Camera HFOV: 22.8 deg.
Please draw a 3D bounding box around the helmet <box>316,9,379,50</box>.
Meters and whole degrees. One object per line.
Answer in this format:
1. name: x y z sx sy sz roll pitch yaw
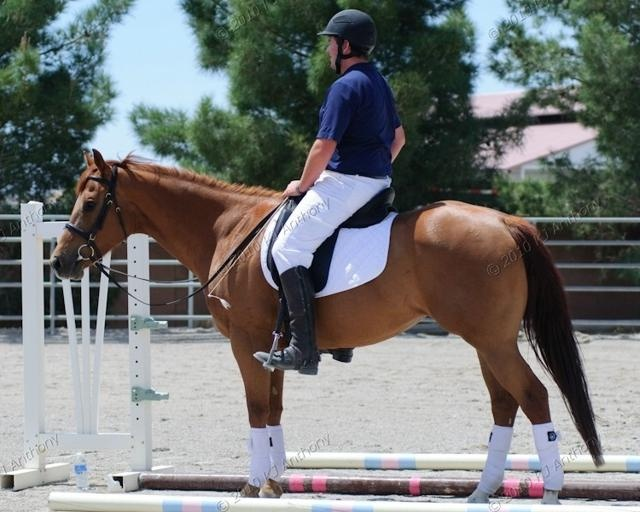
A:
1. helmet: 0.378 -2.928 20.537 0.658 0.385 0.474 19 5 3
